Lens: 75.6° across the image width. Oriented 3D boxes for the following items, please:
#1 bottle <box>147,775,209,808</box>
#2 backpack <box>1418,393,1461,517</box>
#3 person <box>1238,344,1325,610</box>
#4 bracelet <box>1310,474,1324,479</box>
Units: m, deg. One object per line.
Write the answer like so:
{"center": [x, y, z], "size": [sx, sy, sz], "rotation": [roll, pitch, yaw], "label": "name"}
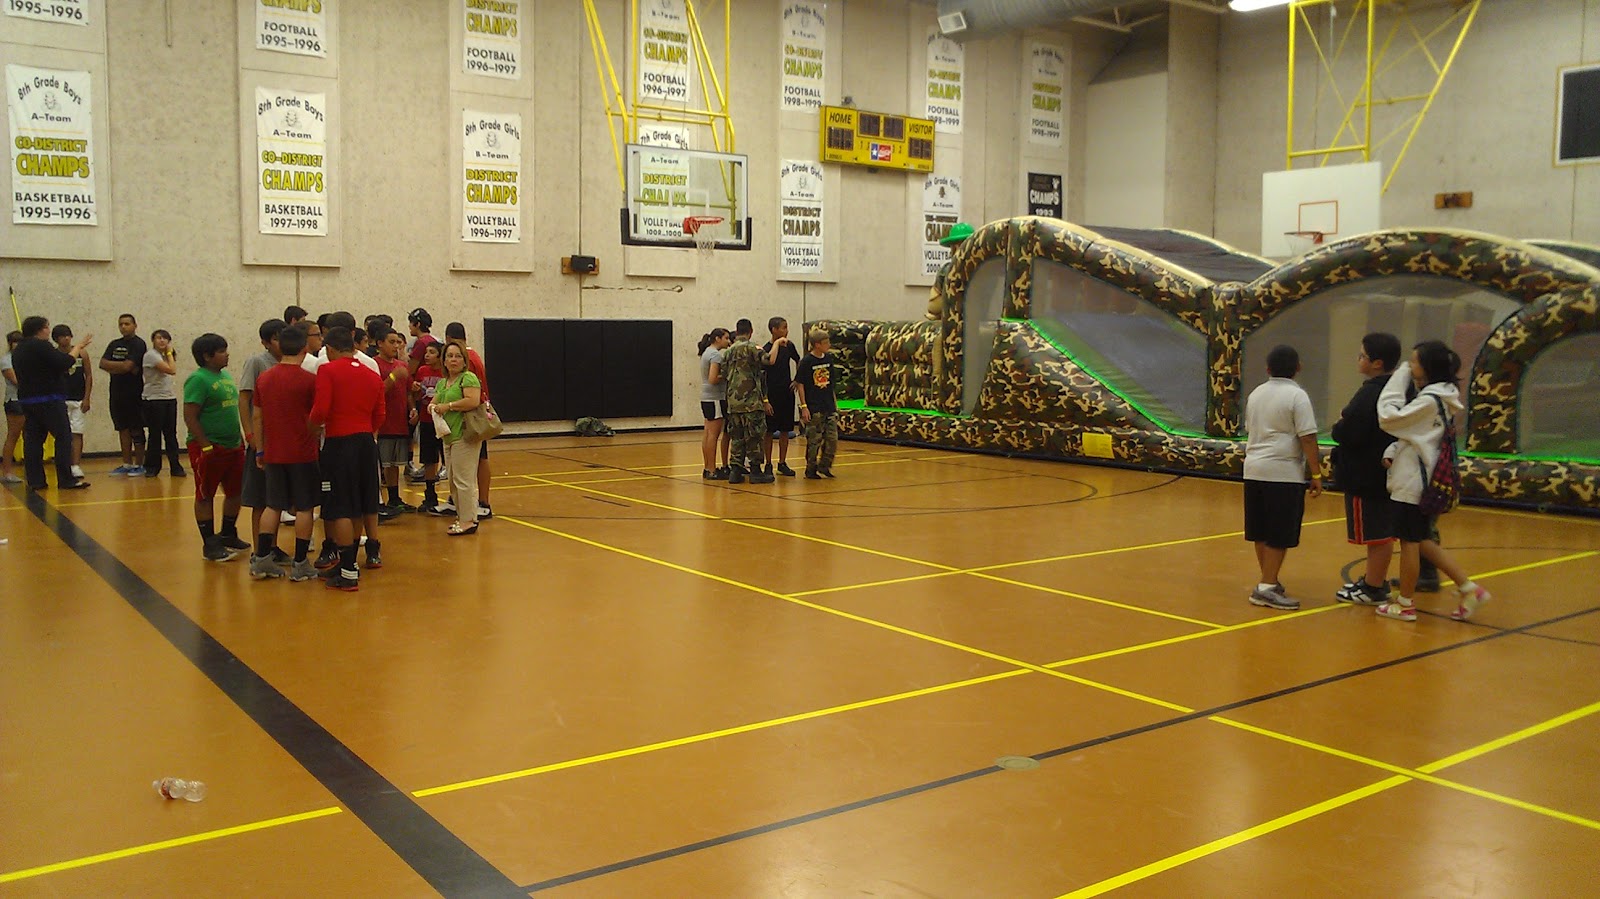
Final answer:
{"center": [-3.821, 2.102, 6.379], "size": [0.268, 0.060, 0.146], "rotation": [15, 28, -20], "label": "bottle"}
{"center": [5.445, 0.051, 8.708], "size": [0.192, 1.027, 0.488], "rotation": [6, 10, 38], "label": "backpack"}
{"center": [4.189, 0.396, 8.990], "size": [0.591, 1.947, 0.281], "rotation": [3, 9, 22], "label": "person"}
{"center": [4.449, 0.233, 8.859], "size": [0.067, 0.044, 0.062], "rotation": [-1, -1, -2], "label": "bracelet"}
